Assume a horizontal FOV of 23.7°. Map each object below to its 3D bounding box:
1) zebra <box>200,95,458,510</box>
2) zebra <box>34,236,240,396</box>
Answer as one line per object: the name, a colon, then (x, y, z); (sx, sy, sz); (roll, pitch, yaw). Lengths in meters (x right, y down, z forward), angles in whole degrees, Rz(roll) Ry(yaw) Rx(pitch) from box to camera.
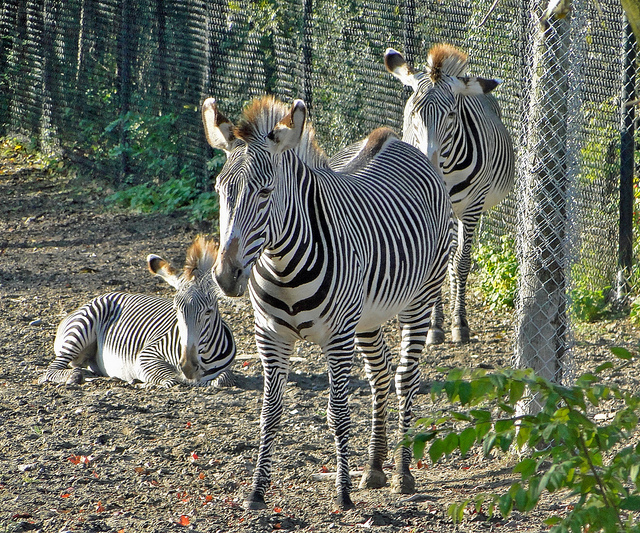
zebra: (0.127, 0.314, 12.540); (1.116, 3.385, 4.020); (4, 3, 23)
zebra: (-1.633, 0.499, 13.969); (1.049, 1.005, 1.883); (4, -8, -32)
